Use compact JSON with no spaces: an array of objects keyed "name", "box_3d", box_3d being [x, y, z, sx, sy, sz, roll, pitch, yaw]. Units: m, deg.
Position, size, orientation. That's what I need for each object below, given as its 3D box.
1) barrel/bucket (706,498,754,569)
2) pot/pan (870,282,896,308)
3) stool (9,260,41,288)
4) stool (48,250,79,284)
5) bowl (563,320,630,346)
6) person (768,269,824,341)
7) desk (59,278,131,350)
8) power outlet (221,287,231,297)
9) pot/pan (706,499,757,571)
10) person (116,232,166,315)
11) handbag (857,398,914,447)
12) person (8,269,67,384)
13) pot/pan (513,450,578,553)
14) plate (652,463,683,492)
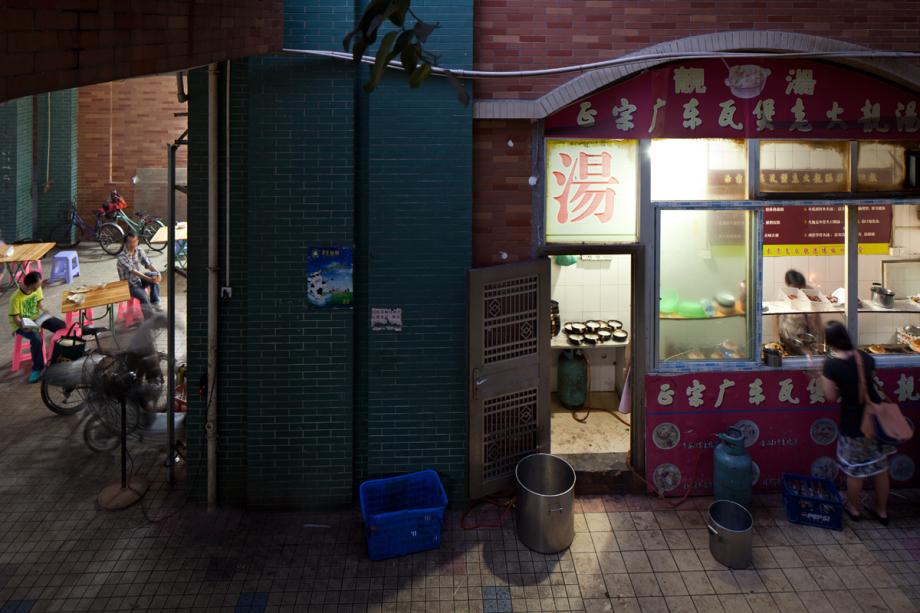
[{"name":"barrel/bucket","box_3d":[3.144,2.677,8.749,0.572,0.504,0.710,-2,9,3]},{"name":"pot/pan","box_3d":[5.833,-0.145,10.168,0.236,0.278,0.357,-7,8,-12]},{"name":"stool","box_3d":[-8.711,-0.676,14.712,0.795,0.573,0.480,-2,-2,6]},{"name":"stool","box_3d":[-8.947,-0.948,16.867,0.712,0.708,0.781,1,12,0]},{"name":"bowl","box_3d":[2.226,0.417,12.060,1.129,0.269,0.826,-4,10,-9]},{"name":"person","box_3d":[4.557,-0.060,9.870,0.631,0.924,0.327,-1,9,10]},{"name":"desk","box_3d":[-6.587,0.044,13.423,1.245,0.731,1.217,-12,38,-25]},{"name":"power outlet","box_3d":[-2.937,-0.196,9.225,0.110,0.107,0.057,2,9,4]},{"name":"pot/pan","box_3d":[3.163,2.679,8.703,0.573,0.511,0.713,-2,9,3]},{"name":"person","box_3d":[-6.287,-0.616,14.568,1.001,1.820,0.851,6,17,-1]},{"name":"handbag","box_3d":[5.131,1.379,8.878,0.553,0.481,0.160,-3,9,-3]},{"name":"person","box_3d":[-7.371,0.315,12.923,1.014,1.839,1.168,0,5,-5]},{"name":"pot/pan","box_3d":[0.962,2.382,9.115,0.825,0.752,1.015,-1,12,-2]},{"name":"plate","box_3d":[2.699,2.236,9.622,0.387,0.386,0.088,-4,9,-11]}]
